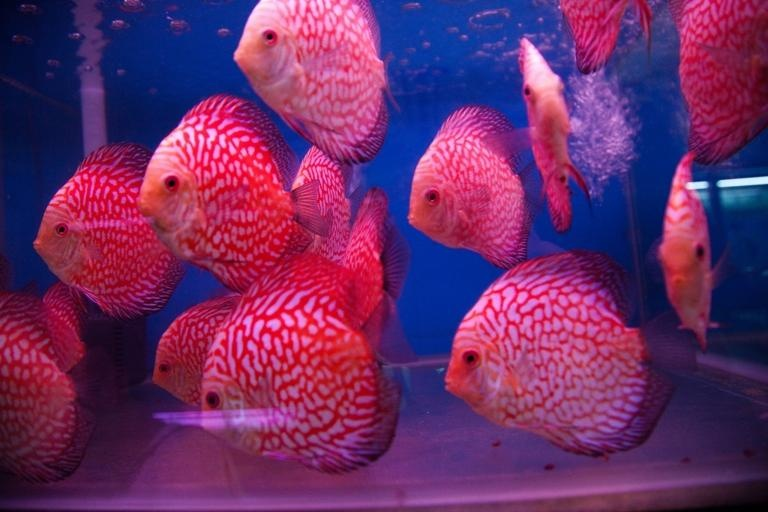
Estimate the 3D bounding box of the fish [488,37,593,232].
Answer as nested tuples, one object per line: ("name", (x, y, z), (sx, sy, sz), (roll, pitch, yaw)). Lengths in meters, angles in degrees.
("fish", (0.402, -0.305, 2.145), (0.148, 0.506, 0.224), (-10, 12, -4))
